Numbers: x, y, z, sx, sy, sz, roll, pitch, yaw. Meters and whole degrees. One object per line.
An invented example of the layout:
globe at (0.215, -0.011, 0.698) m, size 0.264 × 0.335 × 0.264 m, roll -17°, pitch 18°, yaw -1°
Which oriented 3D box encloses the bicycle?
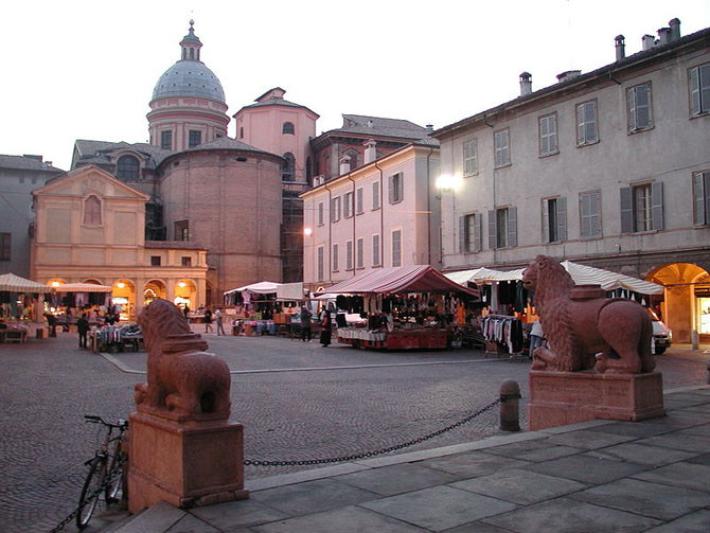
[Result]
bicycle at (-3.041, 2.279, 9.025) m, size 0.518 × 1.124 × 2.775 m, roll 0°, pitch -5°, yaw -17°

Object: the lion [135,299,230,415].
lion at (-1.953, 1.007, 8.269) m, size 0.620 × 1.242 × 1.695 m, roll 3°, pitch -2°, yaw -37°
